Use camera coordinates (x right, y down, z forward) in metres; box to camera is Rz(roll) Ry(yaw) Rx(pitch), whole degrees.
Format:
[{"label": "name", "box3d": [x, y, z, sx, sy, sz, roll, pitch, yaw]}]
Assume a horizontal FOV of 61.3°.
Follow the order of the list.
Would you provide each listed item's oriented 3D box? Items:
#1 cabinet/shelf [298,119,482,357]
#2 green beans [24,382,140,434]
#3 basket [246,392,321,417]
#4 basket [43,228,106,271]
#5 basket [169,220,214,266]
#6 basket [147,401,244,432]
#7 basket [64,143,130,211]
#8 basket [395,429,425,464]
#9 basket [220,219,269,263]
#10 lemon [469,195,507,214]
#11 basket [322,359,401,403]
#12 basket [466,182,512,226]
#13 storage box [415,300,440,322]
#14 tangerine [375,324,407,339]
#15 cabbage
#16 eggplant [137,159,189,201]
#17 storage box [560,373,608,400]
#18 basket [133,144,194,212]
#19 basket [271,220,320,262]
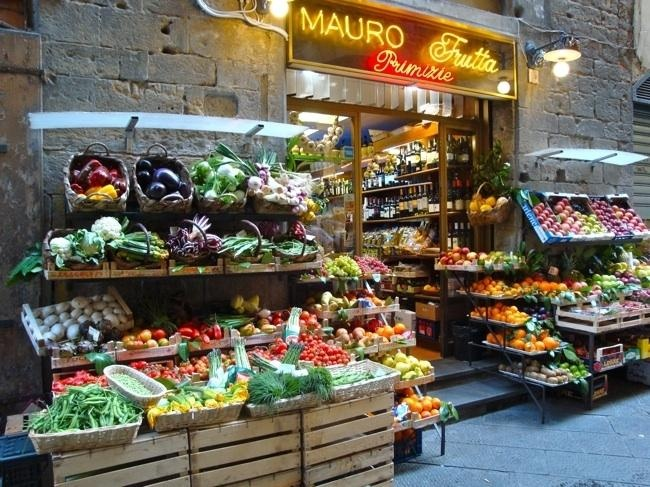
[{"label": "cabinet/shelf", "box3d": [1.144, -0.324, 7.184, 1.248, 2.663, 3.666, 2, 5, -17]}, {"label": "green beans", "box3d": [-1.543, 0.981, 3.624, 0.752, 0.234, 0.677, 1, 2, -35]}, {"label": "basket", "box3d": [-0.268, 1.098, 3.711, 0.524, 0.131, 0.111, -3, 9, -16]}, {"label": "basket", "box3d": [-1.872, 0.025, 4.090, 0.433, 0.282, 0.331, -2, 6, -36]}, {"label": "basket", "box3d": [-1.074, -0.009, 4.345, 0.391, 0.356, 0.294, 6, -9, -41]}, {"label": "basket", "box3d": [-0.866, 1.107, 3.629, 0.576, 0.141, 0.442, 0, 1, -31]}, {"label": "basket", "box3d": [-1.798, -0.522, 4.331, 0.477, 0.537, 0.483, -4, 9, -19]}, {"label": "basket", "box3d": [0.710, 1.735, 4.742, 0.301, 0.275, 0.073, -6, 10, -33]}, {"label": "basket", "box3d": [-0.689, -0.007, 4.575, 0.355, 0.156, 0.359, 16, 21, 35]}, {"label": "lemon", "box3d": [1.995, -0.468, 6.685, 0.394, 0.214, 0.316, -5, 9, -24]}, {"label": "basket", "box3d": [0.241, 1.014, 4.080, 0.573, 0.158, 0.365, -5, 9, -26]}, {"label": "basket", "box3d": [2.002, -0.485, 6.804, 0.494, 0.539, 0.439, -1, 5, -13]}, {"label": "storage box", "box3d": [1.327, 0.880, 7.151, 0.081, 0.252, 0.382, -7, 10, -34]}, {"label": "tangerine", "box3d": [0.603, 0.807, 5.042, 0.167, 0.068, 0.161, -9, 0, -27]}, {"label": "cabbage", "box3d": [-1.767, -0.046, 4.064, 0.441, 0.351, 0.352, -1, 6, -36]}, {"label": "eggplant", "box3d": [-1.305, -0.505, 4.441, 0.382, 0.379, 0.351, -3, 7, -41]}, {"label": "storage box", "box3d": [2.784, 1.541, 5.878, 0.359, 0.209, 0.359, -2, 2, 37]}, {"label": "basket", "box3d": [-1.318, -0.493, 4.451, 0.463, 0.571, 0.408, -3, 7, -35]}, {"label": "basket", "box3d": [-0.262, -0.045, 4.866, 0.322, 0.356, 0.365, -3, 9, -37]}]
